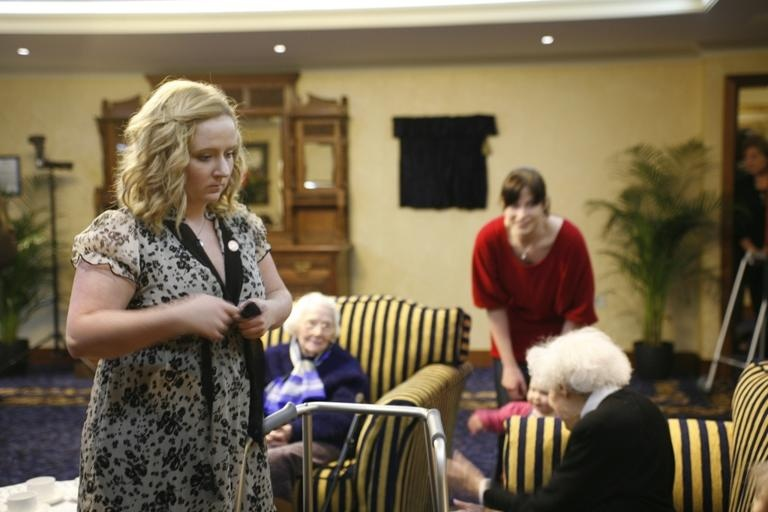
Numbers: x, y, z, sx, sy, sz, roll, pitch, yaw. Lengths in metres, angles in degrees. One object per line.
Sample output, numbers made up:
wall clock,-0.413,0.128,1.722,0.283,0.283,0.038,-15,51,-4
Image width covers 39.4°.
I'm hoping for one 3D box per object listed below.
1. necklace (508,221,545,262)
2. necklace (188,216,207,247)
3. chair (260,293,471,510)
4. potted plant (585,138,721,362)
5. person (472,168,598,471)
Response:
necklace,0.773,-0.075,5.849,0.151,0.225,0.076,0,16,12
necklace,-0.882,-0.123,5.060,0.112,0.118,0.039,-1,-7,-19
chair,-0.130,0.864,6.502,1.134,1.413,1.233,-1,-7,13
potted plant,1.940,-0.102,7.422,0.950,1.610,1.135,0,0,18
person,0.835,0.512,6.045,0.673,2.009,0.582,6,17,26
